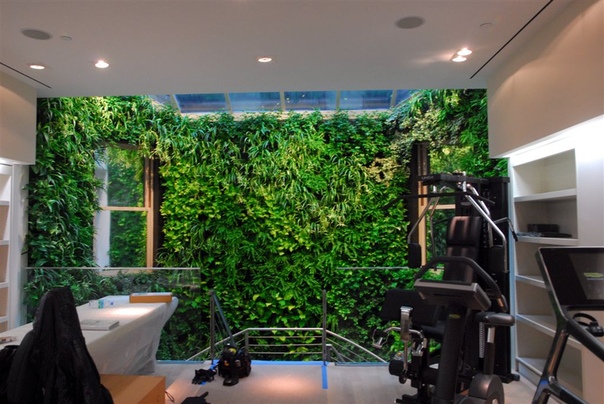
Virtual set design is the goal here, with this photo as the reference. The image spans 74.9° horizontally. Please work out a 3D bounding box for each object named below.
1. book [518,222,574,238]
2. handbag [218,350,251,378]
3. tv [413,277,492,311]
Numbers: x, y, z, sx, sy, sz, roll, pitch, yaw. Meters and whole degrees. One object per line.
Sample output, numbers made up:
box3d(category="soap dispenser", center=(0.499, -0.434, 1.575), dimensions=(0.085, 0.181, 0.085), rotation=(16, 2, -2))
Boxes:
box3d(category="book", center=(2.959, 0.350, 4.872), dimensions=(0.273, 0.153, 0.683), rotation=(-1, 0, -22))
box3d(category="handbag", center=(-0.861, 2.100, 5.236), dimensions=(0.419, 0.315, 0.379), rotation=(0, 0, 7))
box3d(category="tv", center=(1.395, 0.862, 3.679), dimensions=(0.623, 0.276, 0.228), rotation=(0, 1, 27))
